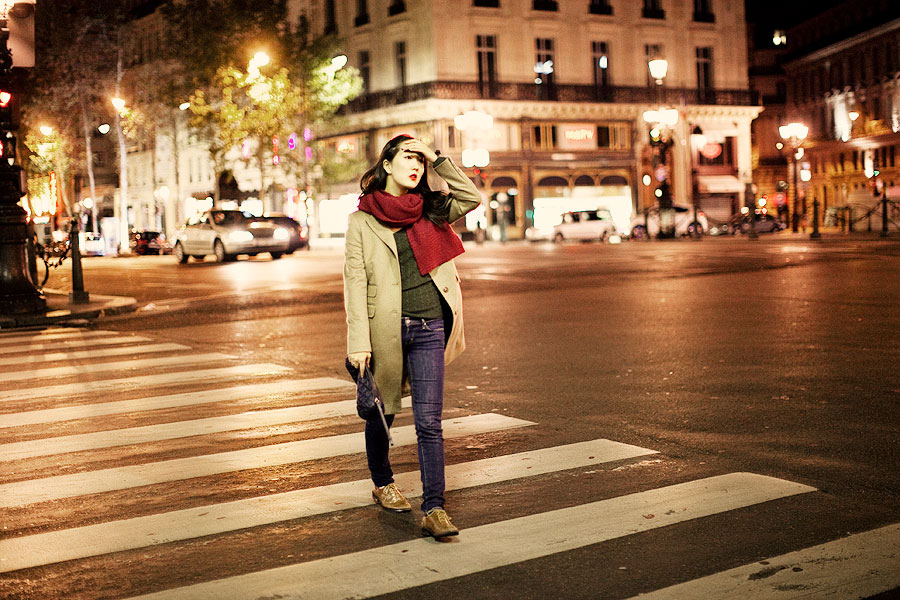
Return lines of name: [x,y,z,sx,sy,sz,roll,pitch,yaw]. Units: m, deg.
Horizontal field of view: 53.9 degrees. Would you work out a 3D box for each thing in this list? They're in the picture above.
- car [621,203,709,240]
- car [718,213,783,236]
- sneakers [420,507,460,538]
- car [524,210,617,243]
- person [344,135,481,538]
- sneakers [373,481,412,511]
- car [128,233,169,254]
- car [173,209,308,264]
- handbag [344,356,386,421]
car: [11.742,-4.198,47.536,3.314,1.245,2.255,-1,4,-12]
car: [17.319,-4.264,51.101,2.981,0.873,1.972,0,1,-8]
sneakers: [-0.071,1.388,5.475,0.133,0.102,0.258,-2,-7,-28]
car: [6.577,-3.922,47.786,4.063,1.617,2.199,1,1,9]
person: [-0.266,0.183,5.711,0.866,2.519,0.729,-2,6,0]
sneakers: [-0.405,1.334,6.003,0.124,0.126,0.326,-7,0,-30]
car: [-21.025,-3.964,61.573,2.373,0.831,1.722,2,0,-28]
car: [-9.691,-2.832,39.008,4.747,2.307,1.963,-1,5,1]
handbag: [-0.519,0.609,5.705,0.134,0.309,0.345,-4,-2,-24]
